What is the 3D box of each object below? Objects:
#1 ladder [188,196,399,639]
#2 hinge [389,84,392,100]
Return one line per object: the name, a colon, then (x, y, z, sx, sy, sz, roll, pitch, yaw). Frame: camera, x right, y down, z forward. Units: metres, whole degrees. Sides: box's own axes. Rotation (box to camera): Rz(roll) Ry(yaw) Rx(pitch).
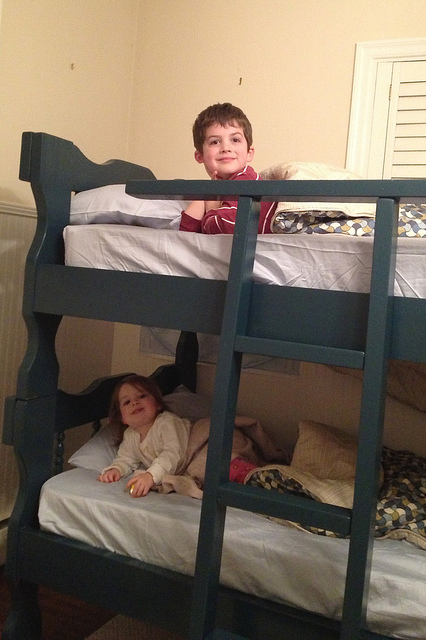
ladder: (0.106, 0.170, 0.992, 0.329, 0.746, 0.577, 0, 4, 9)
hinge: (0.739, -0.952, 2.085, 0.012, 0.059, 0.005, 12, 8, 33)
